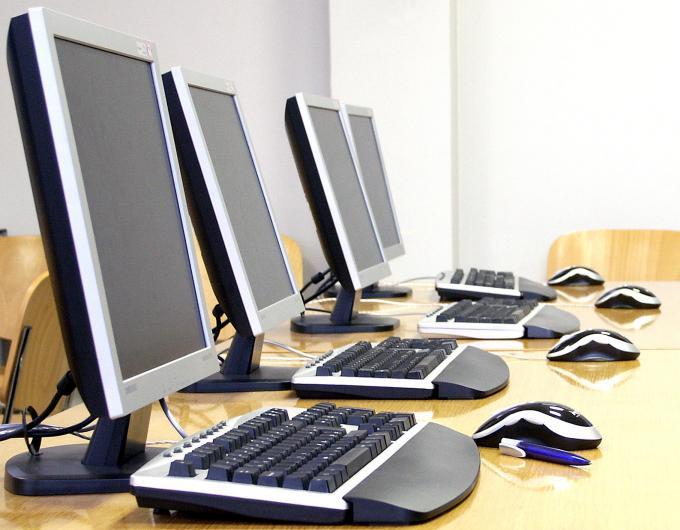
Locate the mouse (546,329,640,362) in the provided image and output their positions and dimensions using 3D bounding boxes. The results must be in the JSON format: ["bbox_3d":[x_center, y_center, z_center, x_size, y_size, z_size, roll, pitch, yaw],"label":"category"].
[{"bbox_3d":[0.497,0.145,1.142,0.127,0.041,0.077,0,-3,9],"label":"mouse"}]

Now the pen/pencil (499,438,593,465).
[{"bbox_3d":[0.260,0.233,0.740,0.080,0.018,0.014,7,33,15],"label":"pen/pencil"}]

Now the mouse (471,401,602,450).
[{"bbox_3d":[0.254,0.205,0.755,0.116,0.037,0.070,1,-4,15],"label":"mouse"}]

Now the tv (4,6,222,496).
[{"bbox_3d":[-0.267,-0.069,0.740,0.165,0.451,0.255,6,10,16],"label":"tv"}]

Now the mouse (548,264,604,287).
[{"bbox_3d":[0.848,0.030,2.091,0.141,0.049,0.091,-2,0,16],"label":"mouse"}]
